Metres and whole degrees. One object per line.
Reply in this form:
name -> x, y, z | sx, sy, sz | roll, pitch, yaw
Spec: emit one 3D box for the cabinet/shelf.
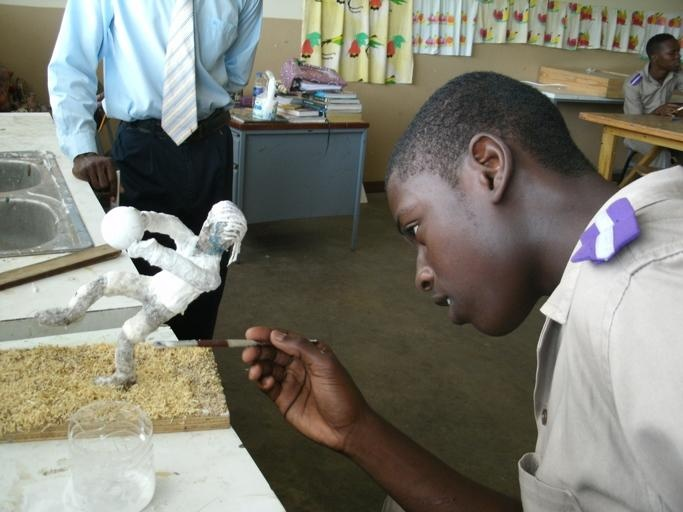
cabinet/shelf -> -0.309, -0.687, 3.747 | 0.743, 0.900, 0.932 | -4, 38, -13
